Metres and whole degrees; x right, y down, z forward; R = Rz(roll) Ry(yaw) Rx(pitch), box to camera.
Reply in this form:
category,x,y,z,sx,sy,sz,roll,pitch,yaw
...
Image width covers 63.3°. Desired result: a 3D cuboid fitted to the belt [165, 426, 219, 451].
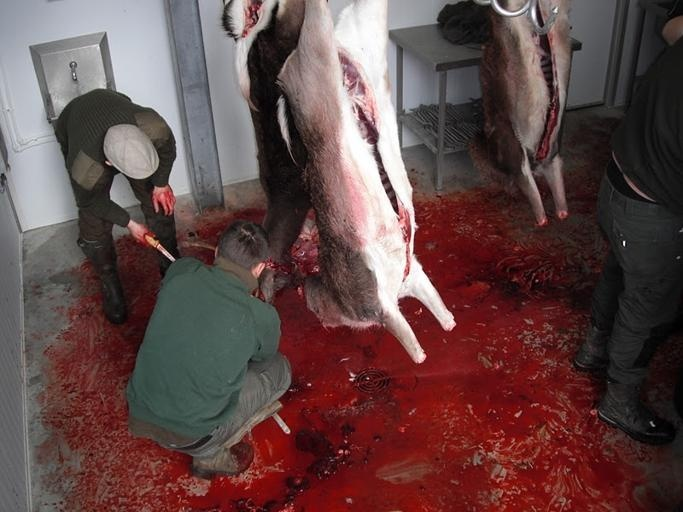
category,x,y,z,sx,sy,sz,roll,pitch,yaw
belt,-0.787,0.976,2.903,0.147,0.067,0.130,-11,19,-33

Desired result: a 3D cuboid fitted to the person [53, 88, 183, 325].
category,x,y,z,sx,sy,sz,roll,pitch,yaw
person,-1.592,-0.445,3.990,0.686,1.300,1.665,-23,-8,-27

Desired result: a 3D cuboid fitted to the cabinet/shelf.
category,x,y,z,sx,sy,sz,roll,pitch,yaw
cabinet/shelf,1.204,-1.449,5.442,1.681,1.625,1.442,-15,50,-10

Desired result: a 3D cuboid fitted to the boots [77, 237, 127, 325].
category,x,y,z,sx,sy,sz,roll,pitch,yaw
boots,-1.728,0.198,3.992,0.146,0.514,0.304,-16,-16,-23

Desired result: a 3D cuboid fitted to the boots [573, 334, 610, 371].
category,x,y,z,sx,sy,sz,roll,pitch,yaw
boots,1.535,0.594,3.390,0.176,0.189,0.081,-22,45,-21

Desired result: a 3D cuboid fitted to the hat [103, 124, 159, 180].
category,x,y,z,sx,sy,sz,roll,pitch,yaw
hat,-1.288,-0.625,3.471,0.258,0.364,0.138,-40,5,-8

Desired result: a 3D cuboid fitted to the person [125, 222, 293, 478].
category,x,y,z,sx,sy,sz,roll,pitch,yaw
person,-0.713,0.482,3.041,0.808,1.433,0.855,2,27,-28

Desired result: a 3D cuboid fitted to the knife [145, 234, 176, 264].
category,x,y,z,sx,sy,sz,roll,pitch,yaw
knife,-1.306,-0.057,4.025,0.049,0.236,0.042,-40,-2,-31
